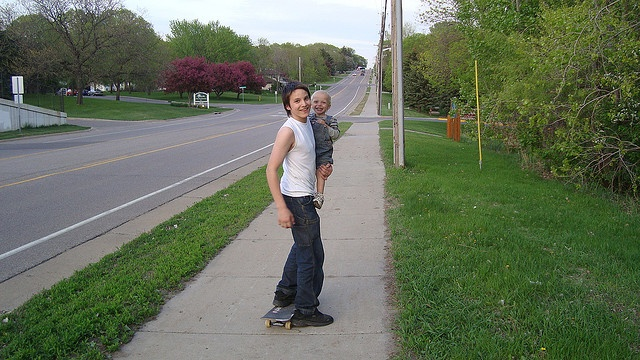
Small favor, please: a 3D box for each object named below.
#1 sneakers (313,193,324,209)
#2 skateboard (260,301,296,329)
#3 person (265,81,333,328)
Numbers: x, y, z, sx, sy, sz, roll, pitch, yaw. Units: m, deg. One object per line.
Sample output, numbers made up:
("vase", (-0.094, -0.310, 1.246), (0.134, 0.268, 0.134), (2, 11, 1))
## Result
("sneakers", (-0.022, 0.343, 6.942), (0.187, 0.223, 0.237), (-1, 3, -8))
("skateboard", (-0.678, 2.167, 6.911), (0.302, 0.158, 0.620), (0, 7, 6))
("person", (-0.355, 0.420, 6.869), (1.019, 3.955, 1.171), (-3, 15, -15))
